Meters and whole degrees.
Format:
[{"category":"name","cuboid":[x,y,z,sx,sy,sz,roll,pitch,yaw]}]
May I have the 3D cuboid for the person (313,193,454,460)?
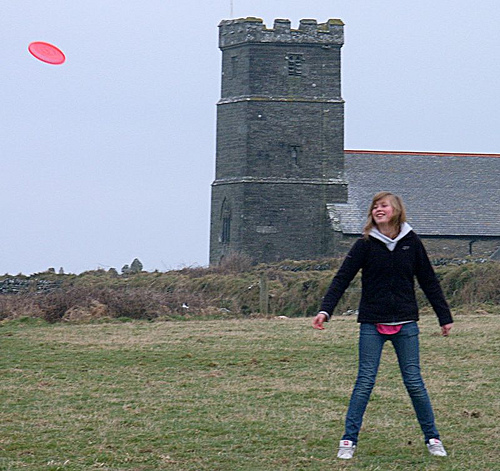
[{"category":"person","cuboid":[1.444,0.933,11.061,1.379,2.740,0.777,-2,6,6]}]
